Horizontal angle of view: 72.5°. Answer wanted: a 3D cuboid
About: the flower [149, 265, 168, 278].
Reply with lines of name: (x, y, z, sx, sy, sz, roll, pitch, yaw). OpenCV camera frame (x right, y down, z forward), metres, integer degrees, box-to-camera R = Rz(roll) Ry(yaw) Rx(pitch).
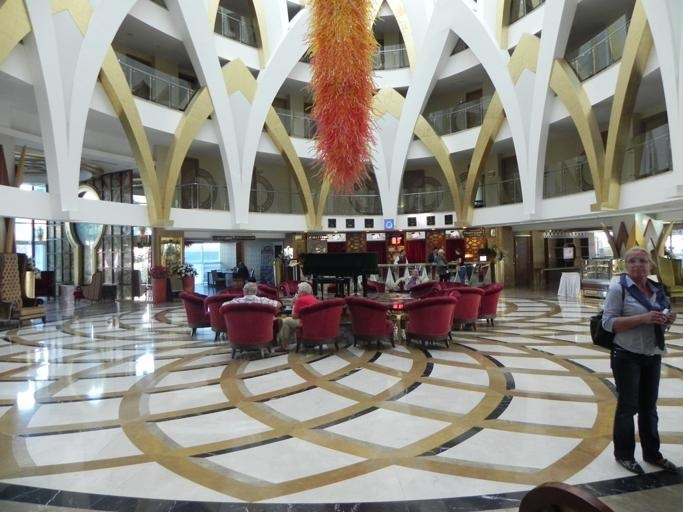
flower: (-5.995, 0.530, 15.367, 0.537, 0.476, 0.265, -4, 6, -25)

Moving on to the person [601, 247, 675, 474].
person: (2.676, 0.921, 4.233, 0.607, 2.003, 0.401, 1, 6, 19)

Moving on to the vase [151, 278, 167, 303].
vase: (-5.991, 1.118, 15.387, 0.475, 0.809, 0.399, -3, 6, -14)

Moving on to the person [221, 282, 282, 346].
person: (-1.555, 1.071, 7.856, 0.935, 1.220, 1.109, 1, 19, -14)

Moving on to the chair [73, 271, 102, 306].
chair: (-8.730, 1.069, 15.956, 1.022, 1.405, 0.968, 1, -4, -6)

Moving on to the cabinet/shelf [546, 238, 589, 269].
cabinet/shelf: (9.705, -0.129, 20.111, 0.377, 1.183, 1.179, 3, -6, -29)

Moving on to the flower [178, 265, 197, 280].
flower: (-5.285, 0.549, 16.018, 0.388, 0.318, 0.416, 1, 5, 25)

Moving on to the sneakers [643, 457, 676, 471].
sneakers: (2.880, 1.883, 4.257, 0.251, 0.102, 0.087, -6, -5, 36)

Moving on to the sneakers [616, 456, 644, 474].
sneakers: (2.604, 1.884, 4.193, 0.082, 0.065, 0.161, 0, -5, -21)
